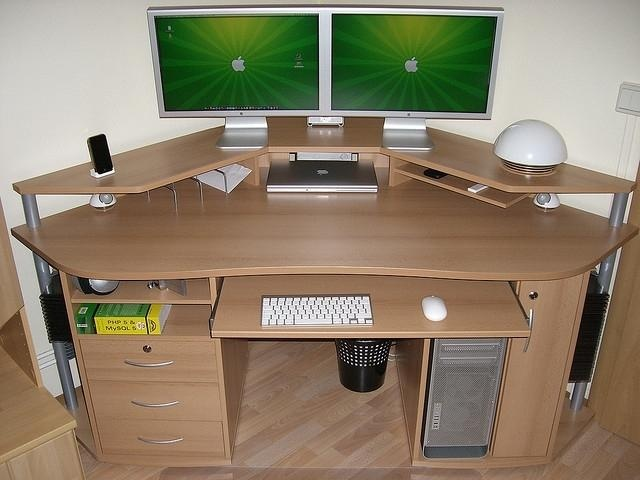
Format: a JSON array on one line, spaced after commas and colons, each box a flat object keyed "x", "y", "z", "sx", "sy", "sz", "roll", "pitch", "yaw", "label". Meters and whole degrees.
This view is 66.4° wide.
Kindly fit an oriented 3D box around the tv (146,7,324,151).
[{"x": -0.395, "y": -0.765, "z": 2.279, "sx": 0.809, "sy": 0.530, "sz": 0.233, "roll": 0, "pitch": 43, "yaw": -3, "label": "tv"}]

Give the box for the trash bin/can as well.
[{"x": 0.179, "y": 0.625, "z": 2.628, "sx": 0.362, "sy": 0.253, "sz": 0.297, "roll": -2, "pitch": 21, "yaw": -10, "label": "trash bin/can"}]

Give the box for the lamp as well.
[{"x": 0.935, "y": -0.410, "z": 2.164, "sx": 0.309, "sy": 0.174, "sz": 0.296, "roll": 9, "pitch": 27, "yaw": 25, "label": "lamp"}]

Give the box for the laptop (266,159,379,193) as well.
[{"x": 0.011, "y": -0.316, "z": 2.425, "sx": 0.425, "sy": 0.039, "sz": 0.222, "roll": 2, "pitch": 33, "yaw": -1, "label": "laptop"}]

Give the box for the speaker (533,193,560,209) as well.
[{"x": 1.053, "y": -0.179, "z": 2.263, "sx": 0.074, "sy": 0.030, "sz": 0.089, "roll": 1, "pitch": 32, "yaw": 24, "label": "speaker"}]

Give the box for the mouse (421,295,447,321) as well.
[{"x": 0.462, "y": 0.276, "z": 1.958, "sx": 0.106, "sy": 0.074, "sz": 0.089, "roll": 5, "pitch": 18, "yaw": 9, "label": "mouse"}]

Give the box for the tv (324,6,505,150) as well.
[{"x": 0.444, "y": -0.772, "z": 2.279, "sx": 0.916, "sy": 0.603, "sz": 0.238, "roll": 0, "pitch": 43, "yaw": 6, "label": "tv"}]
